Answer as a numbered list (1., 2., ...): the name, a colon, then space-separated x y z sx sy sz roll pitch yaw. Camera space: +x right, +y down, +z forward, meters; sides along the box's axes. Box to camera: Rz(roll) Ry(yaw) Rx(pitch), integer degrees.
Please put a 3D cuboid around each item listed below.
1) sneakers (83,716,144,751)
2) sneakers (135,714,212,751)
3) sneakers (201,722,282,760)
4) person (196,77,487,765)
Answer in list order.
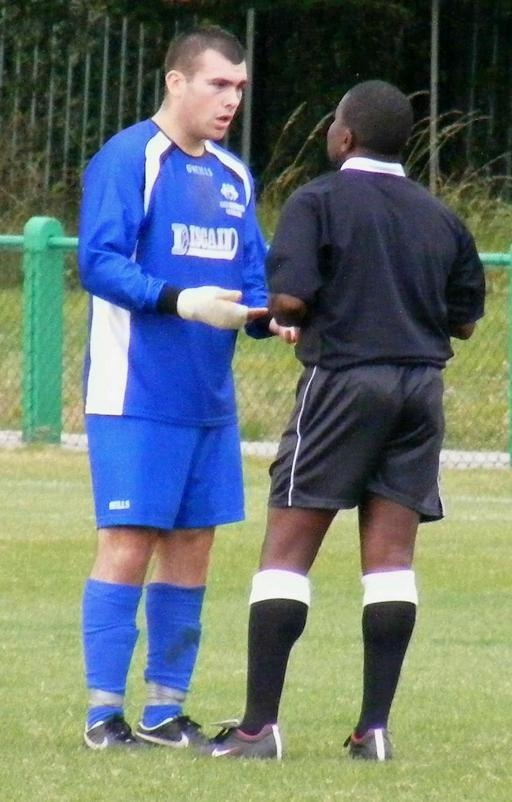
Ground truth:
1. sneakers: -0.323 0.739 3.114 0.151 0.064 0.052 -2 4 -4
2. sneakers: -0.194 0.770 3.248 0.187 0.075 0.063 2 1 -6
3. sneakers: -0.037 0.739 3.051 0.193 0.073 0.068 -4 -13 32
4. person: 0.212 0.032 3.096 0.605 1.477 0.352 1 6 -2
